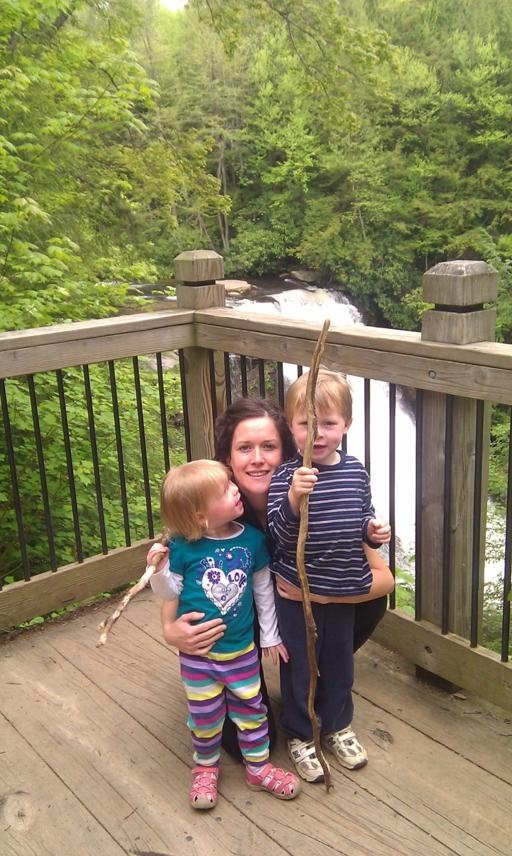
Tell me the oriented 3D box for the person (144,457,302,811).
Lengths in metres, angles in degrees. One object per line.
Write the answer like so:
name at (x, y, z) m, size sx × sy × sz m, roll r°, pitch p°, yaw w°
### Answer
person at (-0.070, 0.427, 1.417) m, size 0.277 × 0.735 × 0.274 m, roll -4°, pitch 8°, yaw -5°

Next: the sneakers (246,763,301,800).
sneakers at (0.039, 0.754, 1.377) m, size 0.116 × 0.052 × 0.056 m, roll -7°, pitch -2°, yaw 33°

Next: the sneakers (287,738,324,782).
sneakers at (0.107, 0.740, 1.456) m, size 0.052 × 0.061 × 0.131 m, roll -1°, pitch -6°, yaw -18°
